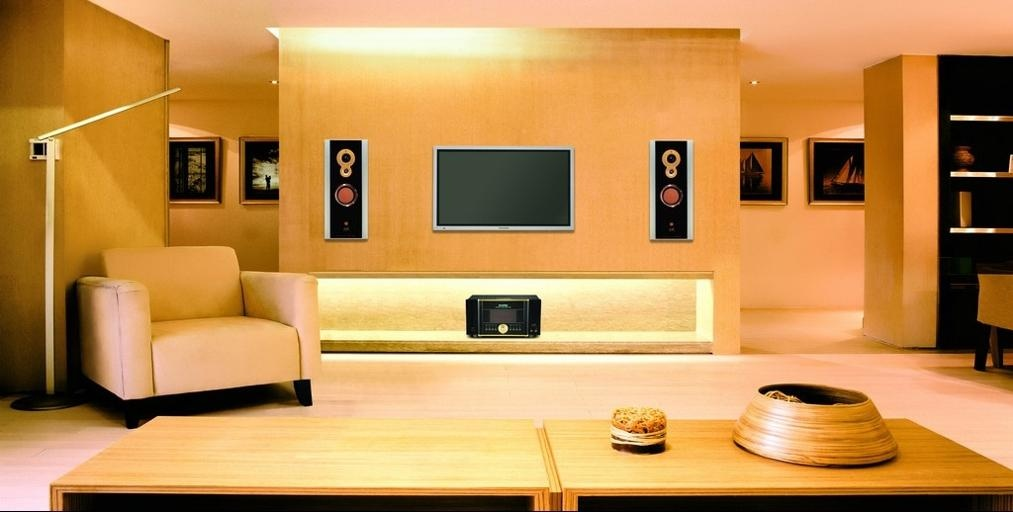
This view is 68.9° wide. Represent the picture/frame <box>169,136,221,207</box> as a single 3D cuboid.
[{"bbox_3d":[-4.271,-1.185,10.198,0.741,0.904,0.120,-2,8,-2],"label":"picture/frame"}]

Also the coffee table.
[{"bbox_3d":[-0.043,1.397,5.058,5.903,0.518,0.498,-1,7,0],"label":"coffee table"}]

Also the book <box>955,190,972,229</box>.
[{"bbox_3d":[5.052,-0.520,8.177,0.187,0.405,0.096,-5,8,-21],"label":"book"}]

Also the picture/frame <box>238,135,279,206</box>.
[{"bbox_3d":[-3.428,-1.179,10.219,0.503,0.901,0.116,-1,8,4],"label":"picture/frame"}]

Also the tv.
[{"bbox_3d":[-0.028,-0.718,7.814,1.346,0.569,0.047,0,2,1],"label":"tv"}]

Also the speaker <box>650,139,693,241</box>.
[{"bbox_3d":[1.722,-0.686,7.783,0.411,1.062,0.151,-1,8,3],"label":"speaker"}]

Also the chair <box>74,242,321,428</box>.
[{"bbox_3d":[-2.913,0.590,6.837,1.822,1.143,1.804,9,9,39],"label":"chair"}]
